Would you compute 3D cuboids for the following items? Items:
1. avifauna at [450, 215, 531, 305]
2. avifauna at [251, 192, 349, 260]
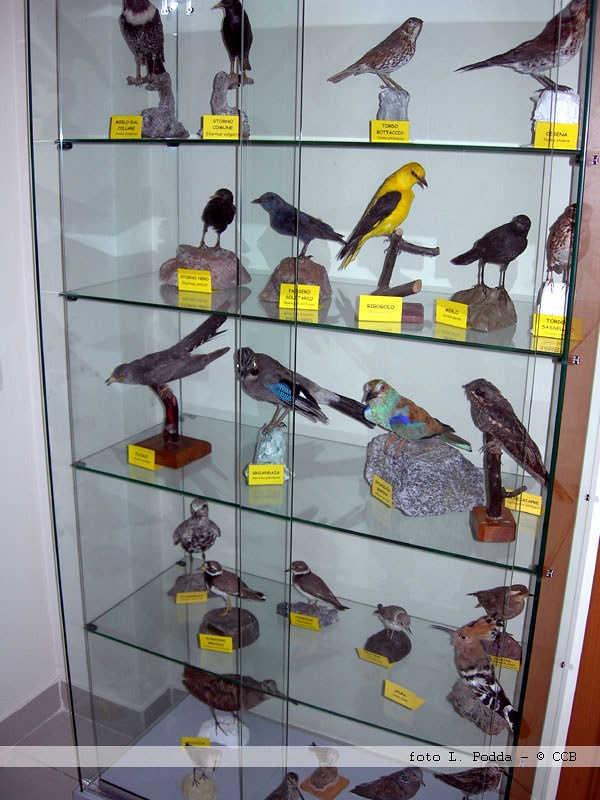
[{"bbox_3d":[0.315,-0.272,1.258,0.101,0.180,0.140,10,-82,-26],"label":"avifauna"},{"bbox_3d":[-0.005,-0.351,1.309,0.231,0.078,0.141,-12,-75,-38],"label":"avifauna"}]
